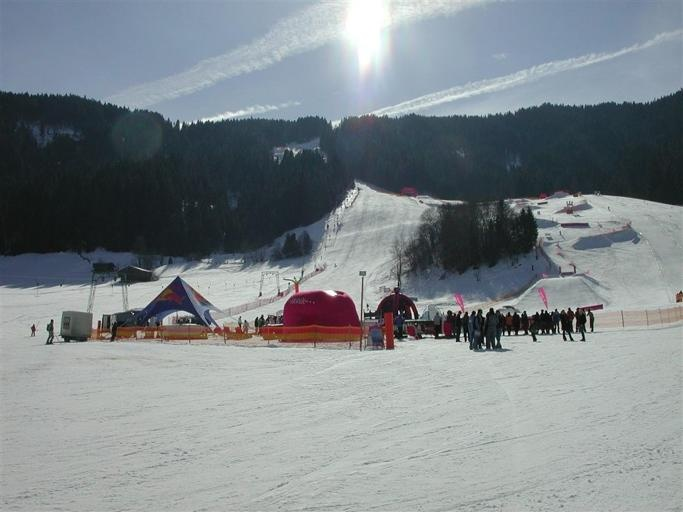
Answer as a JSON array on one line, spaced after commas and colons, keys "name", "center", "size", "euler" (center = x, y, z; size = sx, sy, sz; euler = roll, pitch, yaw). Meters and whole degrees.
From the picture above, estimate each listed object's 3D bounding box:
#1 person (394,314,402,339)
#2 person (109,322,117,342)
[{"name": "person", "center": [3.342, 4.144, 42.616], "size": [0.358, 1.312, 0.709], "euler": [-2, 4, -15]}, {"name": "person", "center": [-14.255, 4.644, 45.590], "size": [0.432, 0.776, 3.320], "euler": [-2, 4, -16]}]
